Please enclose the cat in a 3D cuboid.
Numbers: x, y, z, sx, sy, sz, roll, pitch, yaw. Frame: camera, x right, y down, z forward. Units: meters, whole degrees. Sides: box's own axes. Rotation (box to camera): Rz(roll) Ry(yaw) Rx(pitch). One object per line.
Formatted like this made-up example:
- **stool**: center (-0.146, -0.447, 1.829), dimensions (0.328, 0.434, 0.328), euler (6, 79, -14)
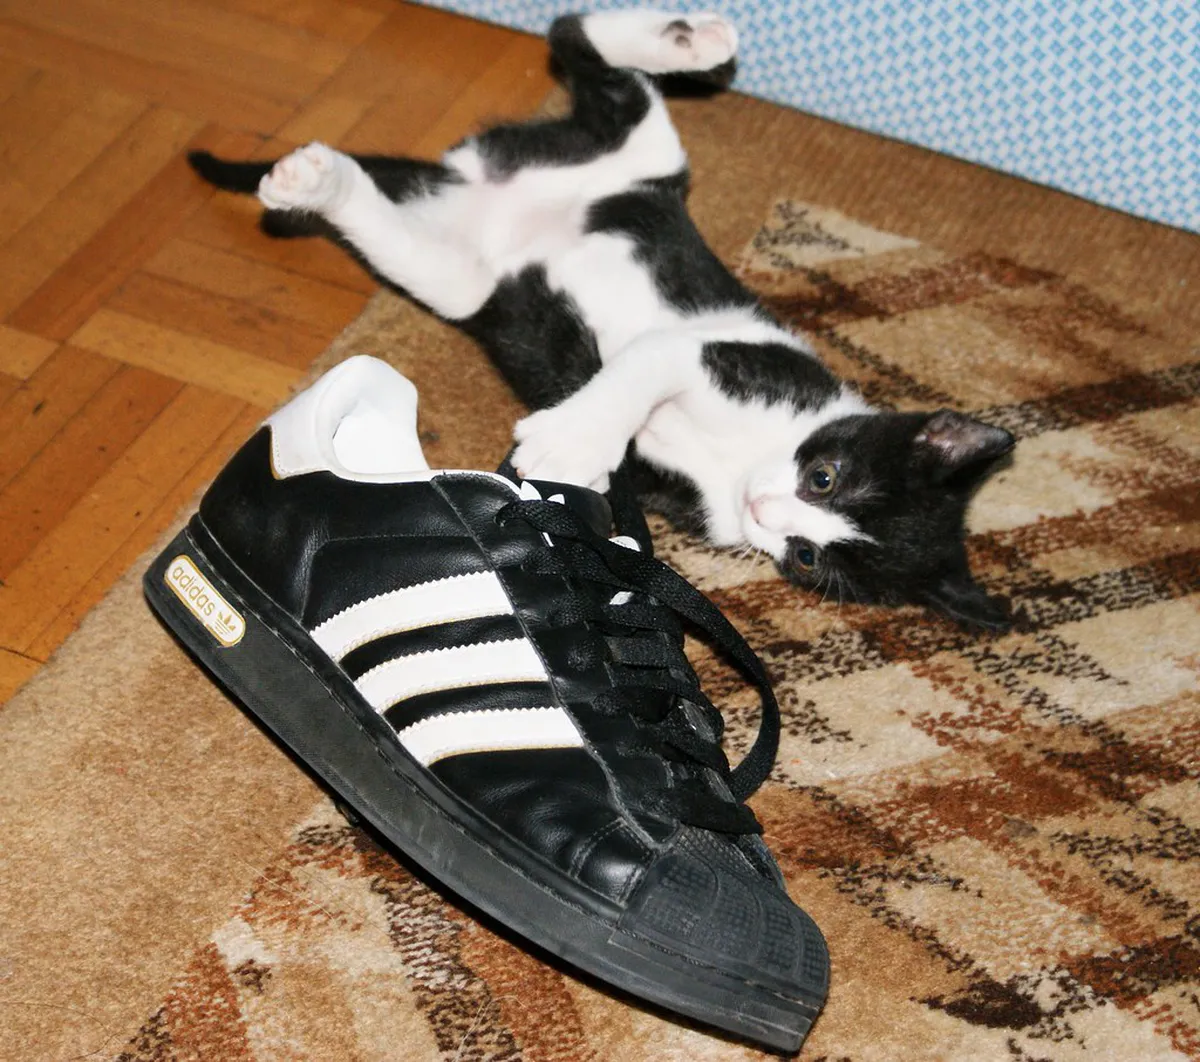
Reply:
- **cat**: center (-0.046, -0.329, 2.220), dimensions (0.797, 0.426, 1.170), euler (-37, 90, -19)
